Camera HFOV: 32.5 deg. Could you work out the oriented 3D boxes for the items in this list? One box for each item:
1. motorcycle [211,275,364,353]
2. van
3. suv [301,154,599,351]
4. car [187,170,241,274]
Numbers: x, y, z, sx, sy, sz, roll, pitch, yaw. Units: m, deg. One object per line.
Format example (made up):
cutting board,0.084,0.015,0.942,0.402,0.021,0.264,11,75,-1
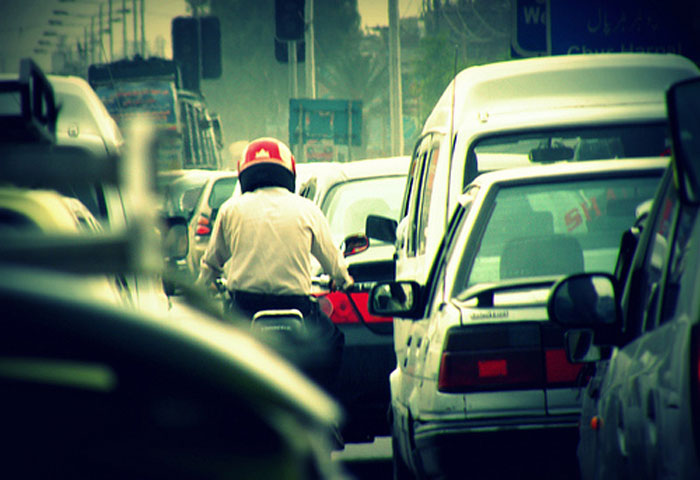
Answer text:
motorcycle,-0.354,0.378,6.405,0.766,0.262,1.111,0,14,-4
van,0.972,-0.311,7.722,1.238,1.465,2.413,-1,2,-5
suv,0.179,0.045,8.535,0.936,1.174,1.766,-1,3,-11
car,-1.844,-0.322,15.861,0.810,0.986,1.683,-1,1,-4
